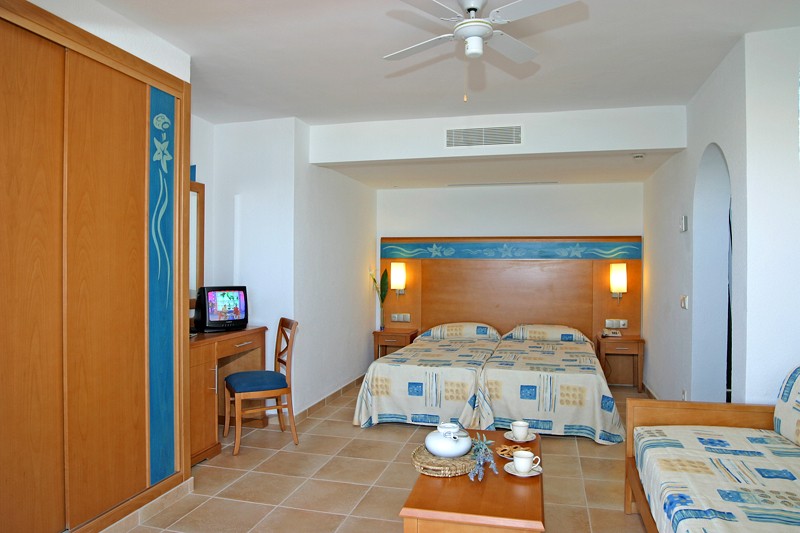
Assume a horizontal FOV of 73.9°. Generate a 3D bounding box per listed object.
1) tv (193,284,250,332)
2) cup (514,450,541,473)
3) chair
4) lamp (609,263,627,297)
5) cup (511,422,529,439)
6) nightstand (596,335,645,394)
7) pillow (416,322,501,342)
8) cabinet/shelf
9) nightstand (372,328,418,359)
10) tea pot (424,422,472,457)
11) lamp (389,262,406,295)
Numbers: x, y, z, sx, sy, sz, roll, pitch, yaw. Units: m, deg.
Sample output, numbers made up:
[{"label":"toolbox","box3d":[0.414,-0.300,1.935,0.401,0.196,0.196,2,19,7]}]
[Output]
[{"label":"tv","box3d":[-1.778,0.433,5.255,0.267,0.432,0.479,-9,-7,39]},{"label":"cup","box3d":[0.811,1.236,3.398,0.163,0.113,0.131,3,-5,20]},{"label":"chair","box3d":[-1.364,1.104,5.123,0.707,1.092,0.648,-1,1,-17]},{"label":"lamp","box3d":[2.902,0.186,7.053,0.235,0.456,0.237,3,9,21]},{"label":"cup","box3d":[0.879,1.177,3.835,0.113,0.108,0.136,1,-6,-39]},{"label":"nightstand","box3d":[2.851,1.253,6.838,0.518,0.591,0.457,-1,0,7]},{"label":"pillow","box3d":[0.828,0.886,7.149,0.674,0.160,0.428,-1,0,15]},{"label":"cabinet/shelf","box3d":[-1.599,1.201,4.910,0.490,1.035,1.244,1,1,14]},{"label":"nightstand","box3d":[-0.075,1.011,7.424,0.549,0.541,0.415,0,2,10]},{"label":"tea pot","box3d":[0.332,1.173,3.622,0.329,0.171,0.352,-3,-1,0]},{"label":"lamp","box3d":[-0.031,0.179,7.737,0.234,0.457,0.144,-1,9,-2]}]
